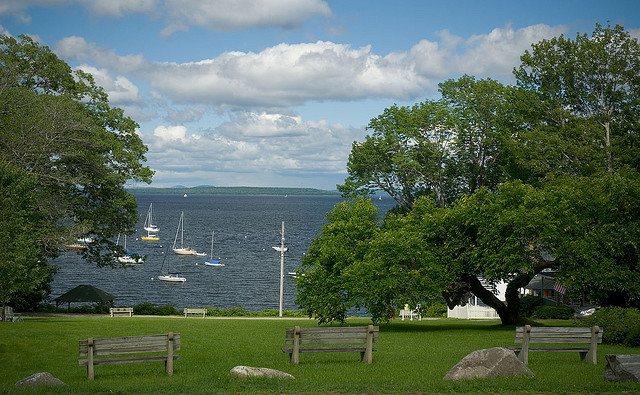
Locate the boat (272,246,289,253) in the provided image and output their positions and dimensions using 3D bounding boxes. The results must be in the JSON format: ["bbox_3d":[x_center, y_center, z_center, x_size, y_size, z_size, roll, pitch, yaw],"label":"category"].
[{"bbox_3d":[-8.199,10.327,158.937,1.098,0.857,3.099,2,4,-39],"label":"boat"}]

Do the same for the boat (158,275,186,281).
[{"bbox_3d":[-21.874,12.018,117.804,3.924,0.746,1.263,4,-2,9],"label":"boat"}]

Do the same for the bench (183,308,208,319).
[{"bbox_3d":[-12.891,11.926,82.507,2.204,0.930,2.165,1,-11,-12],"label":"bench"}]

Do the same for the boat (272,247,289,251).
[{"bbox_3d":[-7.804,10.274,158.921,3.270,0.895,1.075,4,-1,32],"label":"boat"}]

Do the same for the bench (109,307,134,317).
[{"bbox_3d":[-20.100,11.510,80.654,2.097,0.674,1.220,0,-11,-5],"label":"bench"}]

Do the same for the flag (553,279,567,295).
[{"bbox_3d":[24.932,9.430,83.326,1.180,0.867,3.636,-4,-11,15],"label":"flag"}]

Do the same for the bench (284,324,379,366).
[{"bbox_3d":[0.931,10.332,55.715,5.965,2.589,1.435,1,-11,-11],"label":"bench"}]

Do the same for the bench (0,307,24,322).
[{"bbox_3d":[-27.733,10.531,71.630,1.780,1.871,1.477,-6,-12,30],"label":"bench"}]
